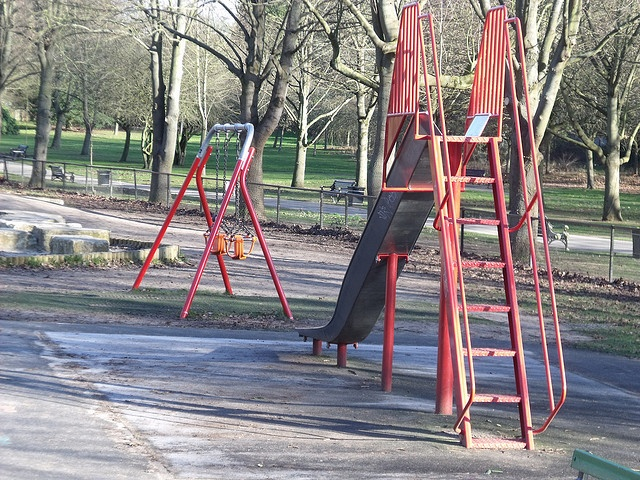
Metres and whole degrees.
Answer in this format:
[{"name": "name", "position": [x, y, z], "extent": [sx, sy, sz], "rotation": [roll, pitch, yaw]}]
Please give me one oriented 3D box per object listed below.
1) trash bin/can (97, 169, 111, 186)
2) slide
[{"name": "trash bin/can", "position": [-9.225, -2.630, 56.864], "extent": [0.488, 0.718, 1.071], "rotation": [3, 14, -8]}, {"name": "slide", "position": [1.162, 0.283, 29.951], "extent": [0.894, 3.004, 4.862], "rotation": [7, -33, -41]}]
